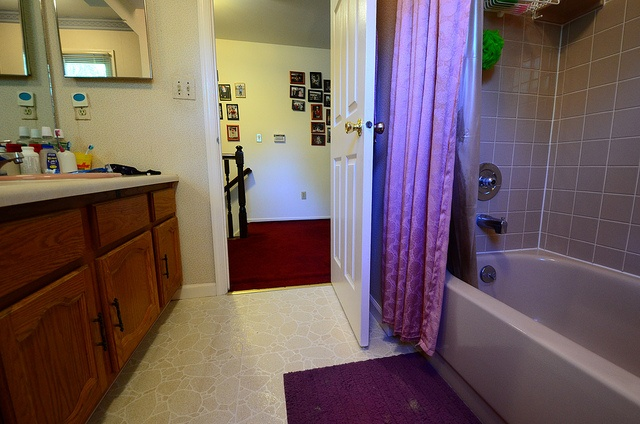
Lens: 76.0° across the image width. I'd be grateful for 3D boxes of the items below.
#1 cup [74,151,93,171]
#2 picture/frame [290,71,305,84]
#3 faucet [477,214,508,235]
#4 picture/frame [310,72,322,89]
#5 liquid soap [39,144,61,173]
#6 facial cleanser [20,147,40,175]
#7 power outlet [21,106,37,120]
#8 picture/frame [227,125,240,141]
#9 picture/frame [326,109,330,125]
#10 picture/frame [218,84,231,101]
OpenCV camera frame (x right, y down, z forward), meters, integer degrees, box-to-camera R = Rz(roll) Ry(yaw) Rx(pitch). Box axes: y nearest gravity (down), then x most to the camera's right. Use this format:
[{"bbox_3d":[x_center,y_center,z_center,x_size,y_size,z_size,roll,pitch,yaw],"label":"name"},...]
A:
[{"bbox_3d":[-1.582,-0.338,2.729,0.124,0.138,0.126,1,5,0],"label":"cup"},{"bbox_3d":[-0.304,-1.692,5.137,0.162,0.143,0.016,-4,22,-11],"label":"picture/frame"},{"bbox_3d":[1.129,0.070,2.681,0.105,0.105,0.182,0,15,-35],"label":"faucet"},{"bbox_3d":[-0.067,-1.681,5.207,0.199,0.252,0.024,-2,12,-16],"label":"picture/frame"},{"bbox_3d":[-1.720,-0.305,2.602,0.106,0.237,0.091,-10,-13,-34],"label":"liquid soap"},{"bbox_3d":[-1.768,-0.314,2.479,0.094,0.158,0.092,-2,15,0],"label":"facial cleanser"},{"bbox_3d":[-1.883,-0.635,2.628,0.084,0.085,0.044,-2,8,-25],"label":"power outlet"},{"bbox_3d":[-1.086,-0.982,5.030,0.179,0.245,0.024,-3,10,-22],"label":"picture/frame"},{"bbox_3d":[0.093,-1.235,5.349,0.034,0.199,0.039,2,16,14],"label":"picture/frame"},{"bbox_3d":[-1.167,-1.435,4.932,0.177,0.192,0.103,-14,19,-38],"label":"picture/frame"}]
